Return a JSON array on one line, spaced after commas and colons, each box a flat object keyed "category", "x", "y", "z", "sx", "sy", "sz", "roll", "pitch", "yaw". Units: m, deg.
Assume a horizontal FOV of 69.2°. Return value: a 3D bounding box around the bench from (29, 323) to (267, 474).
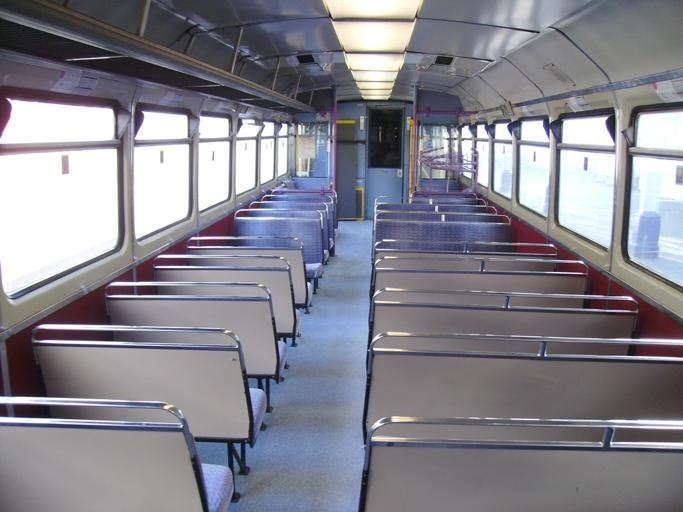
[{"category": "bench", "x": -1.274, "y": 1.081, "z": 3.715, "sx": 1.360, "sy": 0.979, "sz": 0.502, "roll": -1, "pitch": 5, "yaw": 7}]
